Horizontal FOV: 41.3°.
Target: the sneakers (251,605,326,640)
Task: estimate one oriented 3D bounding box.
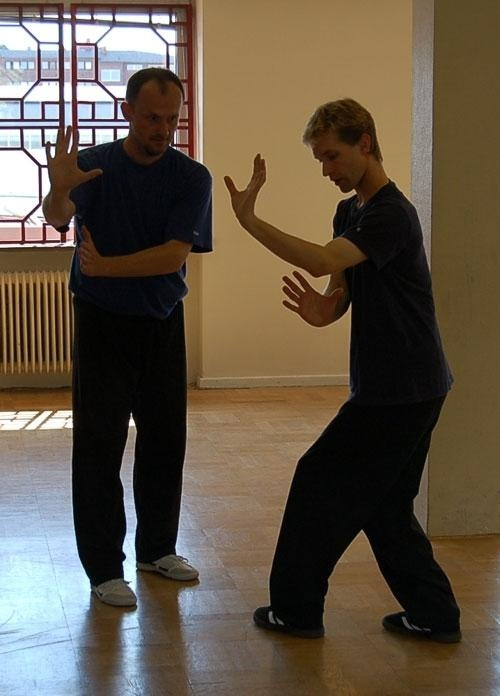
[{"bbox_3d":[0.100,0.729,1.777,0.182,0.069,0.069,7,4,34],"label":"sneakers"}]

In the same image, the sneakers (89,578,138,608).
[{"bbox_3d":[-0.384,0.705,1.921,0.058,0.041,0.114,2,-2,-41],"label":"sneakers"}]

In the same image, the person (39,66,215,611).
[{"bbox_3d":[-0.332,0.003,1.922,0.486,1.541,0.446,-2,8,-17],"label":"person"}]

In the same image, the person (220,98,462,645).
[{"bbox_3d":[0.230,0.106,1.562,0.551,1.335,0.390,3,8,18],"label":"person"}]

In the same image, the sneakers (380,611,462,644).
[{"bbox_3d":[0.451,0.712,1.760,0.192,0.078,0.066,5,6,29],"label":"sneakers"}]

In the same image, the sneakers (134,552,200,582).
[{"bbox_3d":[-0.265,0.703,2.167,0.205,0.082,0.071,2,-3,23],"label":"sneakers"}]
